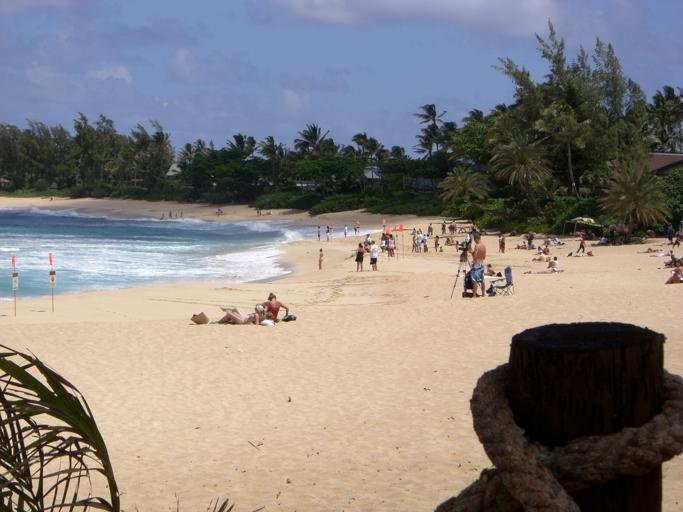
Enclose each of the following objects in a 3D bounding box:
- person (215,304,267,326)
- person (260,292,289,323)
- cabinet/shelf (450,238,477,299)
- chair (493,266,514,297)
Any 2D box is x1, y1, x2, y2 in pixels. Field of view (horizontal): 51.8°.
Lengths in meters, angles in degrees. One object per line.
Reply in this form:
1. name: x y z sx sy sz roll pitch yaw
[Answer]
1. person: -2.384 1.481 17.074 0.927 0.489 0.617 4 -2 6
2. person: -1.793 1.377 18.925 0.498 0.795 0.283 8 16 21
3. cabinet/shelf: 4.019 0.185 22.782 0.607 1.318 0.574 -11 26 -3
4. chair: 4.577 0.685 20.122 0.589 0.690 1.898 -2 5 14
